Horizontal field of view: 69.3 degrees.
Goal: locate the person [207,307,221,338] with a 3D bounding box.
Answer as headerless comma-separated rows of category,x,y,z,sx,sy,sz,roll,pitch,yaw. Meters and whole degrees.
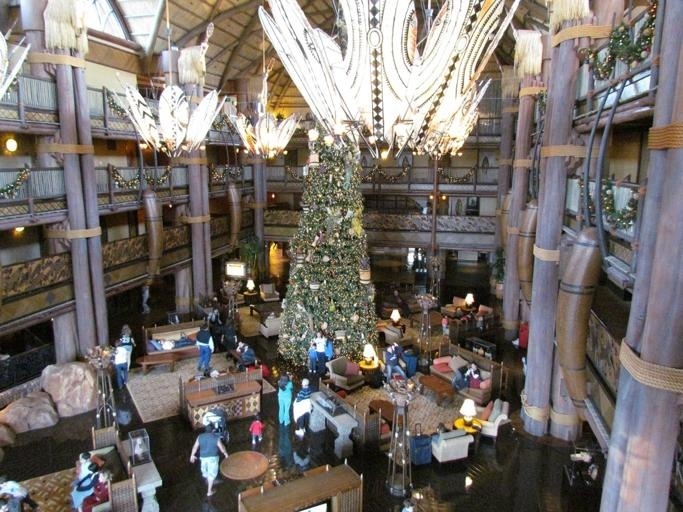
person,-4.283,2.257,16.427,0.479,1.004,0.657,-2,18,-7

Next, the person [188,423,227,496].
person,-2.689,3.846,9.852,0.691,1.443,1.158,-4,10,-18

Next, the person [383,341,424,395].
person,1.547,3.086,13.871,0.772,1.163,1.046,-7,9,-11

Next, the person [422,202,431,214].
person,5.024,-2.822,28.911,0.414,0.640,1.097,-1,9,0
